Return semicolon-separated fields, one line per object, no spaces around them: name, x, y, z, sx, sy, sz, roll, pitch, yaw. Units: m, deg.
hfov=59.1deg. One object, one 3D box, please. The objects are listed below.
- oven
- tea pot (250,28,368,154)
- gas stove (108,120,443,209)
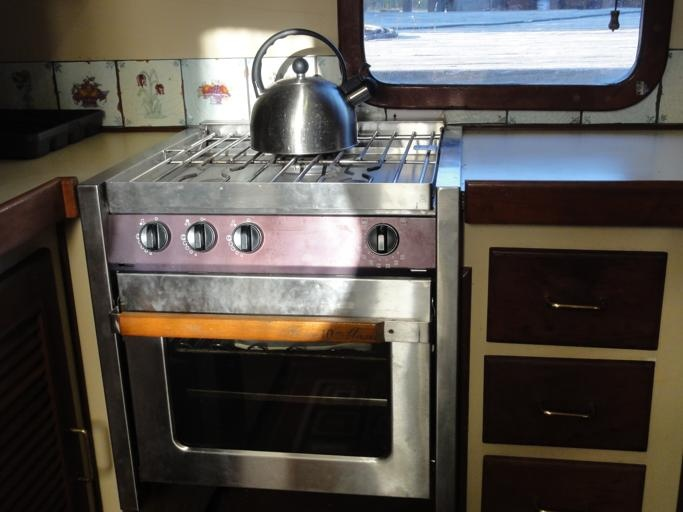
oven;-0.163;0.182;1.678;0.818;0.857;0.562;2;20;0
tea pot;-0.086;-0.431;1.616;0.313;0.287;0.285;-1;29;1
gas stove;-0.132;-0.258;1.648;0.806;0.194;0.589;3;17;8
